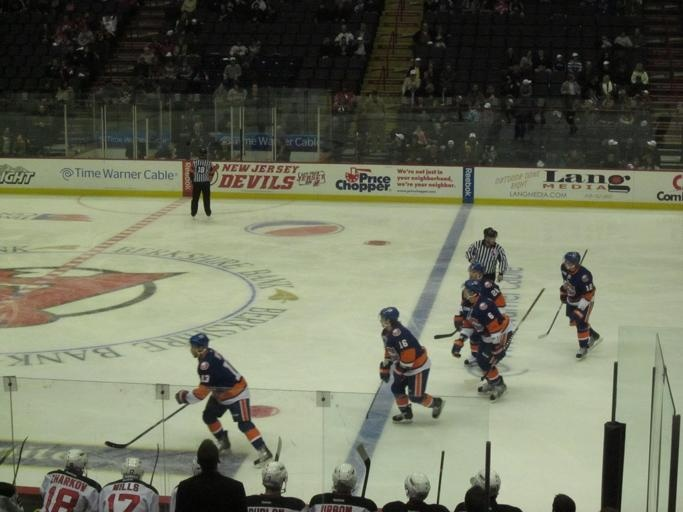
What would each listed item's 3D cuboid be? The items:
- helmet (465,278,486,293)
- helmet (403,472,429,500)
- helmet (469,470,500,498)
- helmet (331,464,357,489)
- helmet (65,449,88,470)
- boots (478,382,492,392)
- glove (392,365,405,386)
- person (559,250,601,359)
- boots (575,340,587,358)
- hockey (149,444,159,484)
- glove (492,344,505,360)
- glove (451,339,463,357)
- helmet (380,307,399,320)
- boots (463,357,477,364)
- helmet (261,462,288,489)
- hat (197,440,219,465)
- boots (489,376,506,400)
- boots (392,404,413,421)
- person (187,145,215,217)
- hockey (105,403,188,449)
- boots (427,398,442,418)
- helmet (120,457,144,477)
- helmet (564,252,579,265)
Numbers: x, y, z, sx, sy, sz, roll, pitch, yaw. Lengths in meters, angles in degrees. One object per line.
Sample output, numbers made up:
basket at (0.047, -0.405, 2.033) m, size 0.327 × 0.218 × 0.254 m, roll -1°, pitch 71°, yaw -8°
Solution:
helmet at (1.694, 0.368, 11.776) m, size 0.227 × 0.153 × 0.240 m, roll 10°, pitch -18°, yaw -19°
helmet at (0.662, 1.993, 8.039) m, size 0.222 × 0.204 × 0.244 m, roll 2°, pitch 21°, yaw 0°
helmet at (1.297, 2.017, 8.192) m, size 0.239 × 0.162 × 0.322 m, roll -4°, pitch 18°, yaw -24°
helmet at (0.026, 1.942, 8.202) m, size 0.197 × 0.186 × 0.230 m, roll 3°, pitch 20°, yaw 11°
helmet at (-2.463, 1.858, 8.359) m, size 0.210 × 0.199 × 0.232 m, roll 3°, pitch 10°, yaw 0°
boots at (1.832, 1.666, 11.655) m, size 0.167 × 0.097 × 0.258 m, roll -1°, pitch 2°, yaw 6°
glove at (0.650, 1.365, 10.478) m, size 0.153 × 0.154 × 0.177 m, roll 1°, pitch 3°, yaw 21°
person at (3.437, 0.683, 13.188) m, size 0.520 × 1.491 × 0.643 m, roll -1°, pitch 2°, yaw 13°
boots at (3.403, 1.322, 12.955) m, size 0.116 × 0.121 × 0.320 m, roll 1°, pitch 17°, yaw 23°
hockey at (-1.828, 1.989, 8.882) m, size 0.042 × 0.416 × 0.065 m, roll 20°, pitch 15°, yaw 18°
glove at (2.026, 1.231, 11.766) m, size 0.184 × 0.157 × 0.200 m, roll -5°, pitch 3°, yaw 6°
glove at (1.561, 1.220, 12.126) m, size 0.093 × 0.216 × 0.181 m, roll 18°, pitch 3°, yaw -16°
helmet at (0.550, 0.696, 10.784) m, size 0.194 × 0.145 × 0.134 m, roll -22°, pitch 17°, yaw 27°
boots at (1.782, 1.440, 12.684) m, size 0.179 × 0.063 × 0.074 m, roll -1°, pitch 28°, yaw -11°
helmet at (-0.588, 1.898, 8.044) m, size 0.239 × 0.222 × 0.265 m, roll 4°, pitch 21°, yaw 4°
hat at (-1.099, 1.653, 7.684) m, size 0.179 × 0.183 × 0.194 m, roll 3°, pitch 25°, yaw -3°
boots at (1.976, 1.663, 11.542) m, size 0.138 × 0.149 × 0.360 m, roll -2°, pitch 38°, yaw 42°
boots at (0.582, 1.495, 8.674) m, size 0.274 × 0.181 × 0.084 m, roll 1°, pitch 2°, yaw 0°
person at (-3.441, -1.791, 22.352) m, size 0.543 × 1.675 × 0.937 m, roll -2°, pitch 2°, yaw -7°
hockey at (-1.883, 1.622, 8.866) m, size 1.097 × 0.305 × 0.050 m, roll -17°, pitch -31°, yaw 14°
boots at (0.867, 1.393, 8.499) m, size 0.108 × 0.197 × 0.076 m, roll 1°, pitch 32°, yaw -9°
helmet at (-1.861, 1.865, 8.160) m, size 0.181 × 0.172 × 0.203 m, roll 1°, pitch 12°, yaw -6°
helmet at (3.311, 0.015, 13.131) m, size 0.229 × 0.156 × 0.161 m, roll 15°, pitch 13°, yaw 5°
